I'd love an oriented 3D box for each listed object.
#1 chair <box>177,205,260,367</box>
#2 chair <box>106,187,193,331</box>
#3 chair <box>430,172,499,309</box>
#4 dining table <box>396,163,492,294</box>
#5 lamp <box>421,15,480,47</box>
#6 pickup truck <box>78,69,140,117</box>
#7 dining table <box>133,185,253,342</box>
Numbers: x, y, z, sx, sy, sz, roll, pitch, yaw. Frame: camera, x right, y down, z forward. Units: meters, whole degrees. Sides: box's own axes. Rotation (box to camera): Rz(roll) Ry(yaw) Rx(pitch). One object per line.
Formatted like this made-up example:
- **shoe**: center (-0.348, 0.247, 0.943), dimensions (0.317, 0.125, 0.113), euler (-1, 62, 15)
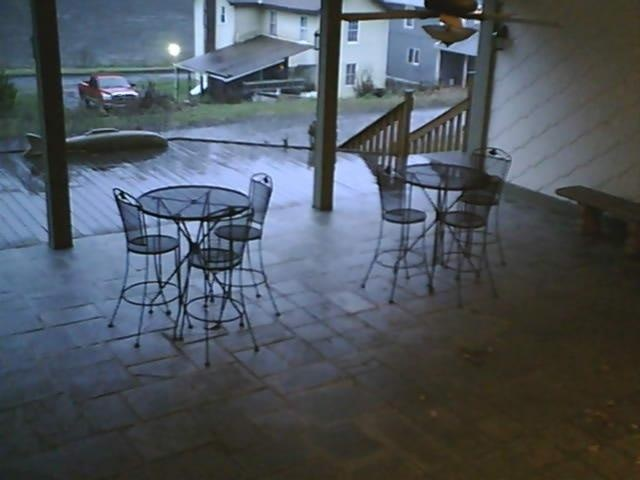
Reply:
- **chair**: center (-0.887, 0.283, 4.709), dimensions (0.742, 1.258, 0.723), euler (6, 18, -5)
- **chair**: center (-1.614, 0.233, 5.113), dimensions (0.704, 1.425, 0.731), euler (5, 35, -13)
- **chair**: center (1.550, -0.039, 5.664), dimensions (0.687, 1.250, 0.653), euler (-4, -26, 33)
- **dining table**: center (1.386, -0.259, 5.886), dimensions (0.968, 1.168, 1.648), euler (3, 21, 9)
- **lamp**: center (1.222, -1.987, 5.120), dimensions (0.434, 0.257, 0.522), euler (11, 23, 28)
- **pickup truck**: center (-8.215, -5.671, 20.769), dimensions (1.208, 0.933, 2.220), euler (-14, 27, -32)
- **dining table**: center (-1.111, 0.219, 4.754), dimensions (0.876, 1.077, 0.871), euler (5, 8, 15)
